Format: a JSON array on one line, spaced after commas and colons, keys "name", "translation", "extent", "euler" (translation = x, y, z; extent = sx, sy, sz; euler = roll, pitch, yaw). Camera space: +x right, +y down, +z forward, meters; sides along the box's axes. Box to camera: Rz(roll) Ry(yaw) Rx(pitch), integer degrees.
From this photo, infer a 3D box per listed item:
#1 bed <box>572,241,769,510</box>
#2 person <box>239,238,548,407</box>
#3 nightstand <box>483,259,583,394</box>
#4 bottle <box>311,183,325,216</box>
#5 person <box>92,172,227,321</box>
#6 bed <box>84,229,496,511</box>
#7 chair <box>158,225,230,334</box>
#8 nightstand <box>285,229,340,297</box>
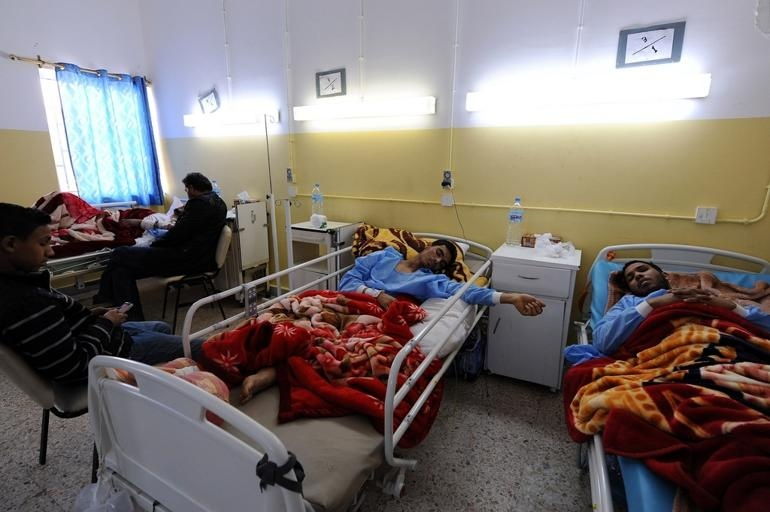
[{"name": "bed", "translation": [1.579, 0.669, 2.454], "extent": [0.733, 0.609, 1.408], "euler": [2, 52, 23]}, {"name": "person", "translation": [0.182, 0.187, 3.410], "extent": [0.944, 0.690, 1.739], "euler": [11, 22, 31]}, {"name": "nightstand", "translation": [1.140, 0.487, 3.527], "extent": [0.687, 0.975, 0.501], "euler": [6, 7, 18]}, {"name": "bottle", "translation": [-0.664, -0.549, 4.389], "extent": [0.114, 0.290, 0.191], "euler": [-4, 15, -8]}, {"name": "person", "translation": [-2.066, -0.087, 4.115], "extent": [0.994, 1.468, 0.592], "euler": [9, -5, -18]}, {"name": "bed", "translation": [-0.093, 0.505, 2.637], "extent": [1.042, 0.564, 1.875], "euler": [11, 23, 25]}, {"name": "chair", "translation": [-1.823, 0.111, 4.279], "extent": [0.639, 0.927, 0.581], "euler": [-10, 26, -41]}, {"name": "nightstand", "translation": [-0.609, 0.079, 4.230], "extent": [0.509, 0.705, 0.398], "euler": [8, 15, 28]}]
